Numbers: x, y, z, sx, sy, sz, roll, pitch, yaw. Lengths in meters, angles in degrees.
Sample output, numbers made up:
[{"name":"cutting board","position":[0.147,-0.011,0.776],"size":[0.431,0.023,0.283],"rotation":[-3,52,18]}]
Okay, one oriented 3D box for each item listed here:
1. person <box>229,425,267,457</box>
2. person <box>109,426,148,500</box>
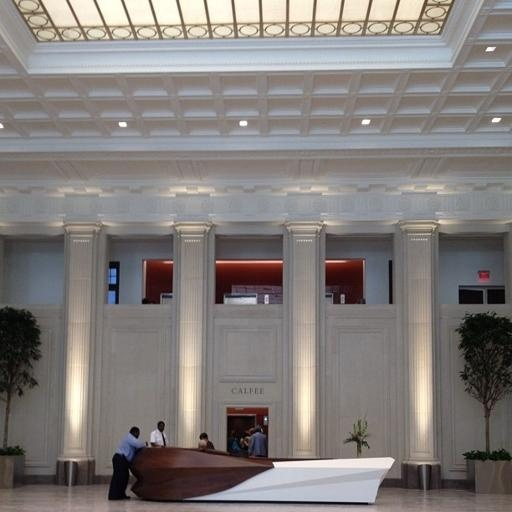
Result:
[{"name":"person","position":[-0.062,4.103,13.541],"size":[0.822,0.680,1.113],"rotation":[4,-11,-21]},{"name":"person","position":[-2.258,3.656,10.737],"size":[0.574,1.204,0.591],"rotation":[3,-12,-19]}]
